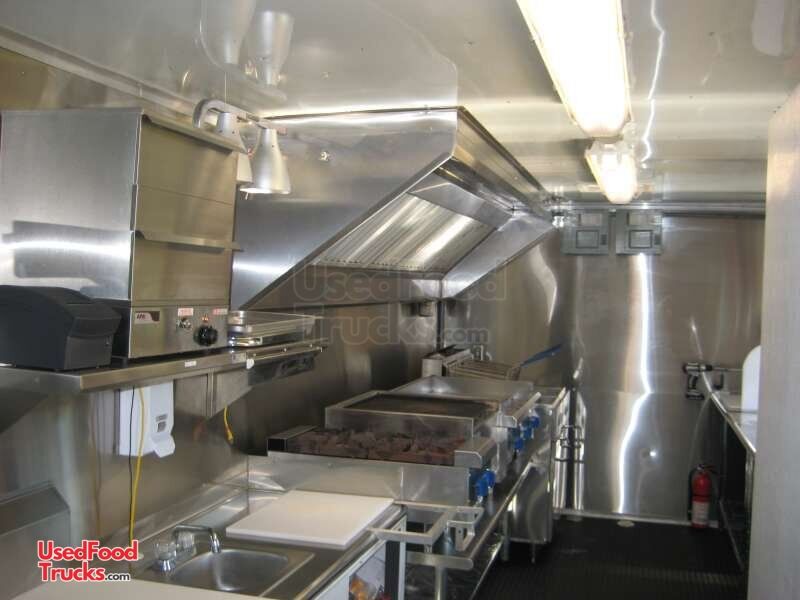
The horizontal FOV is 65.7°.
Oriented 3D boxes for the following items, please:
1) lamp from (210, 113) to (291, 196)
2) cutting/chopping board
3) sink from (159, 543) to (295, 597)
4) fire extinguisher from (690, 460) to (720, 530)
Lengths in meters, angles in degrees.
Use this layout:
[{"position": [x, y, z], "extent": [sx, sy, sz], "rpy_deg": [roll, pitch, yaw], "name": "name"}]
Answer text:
[{"position": [-0.521, -0.520, 2.144], "extent": [0.314, 0.229, 0.133], "rpy_deg": [22, 29, 24], "name": "lamp"}, {"position": [-0.325, 0.804, 2.326], "extent": [0.491, 0.080, 0.435], "rpy_deg": [6, 11, 18], "name": "cutting/chopping board"}, {"position": [-0.576, 0.901, 2.032], "extent": [0.218, 0.088, 0.184], "rpy_deg": [4, 6, 27], "name": "sink"}, {"position": [2.241, 1.442, 4.615], "extent": [0.210, 0.513, 0.326], "rpy_deg": [8, 13, 27], "name": "fire extinguisher"}]
